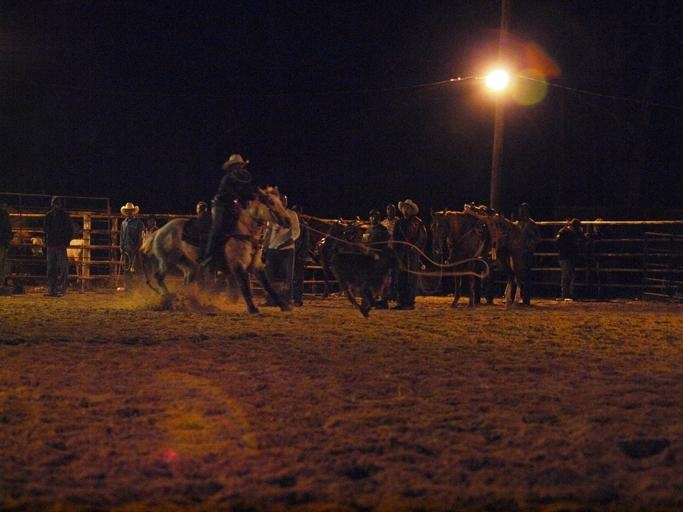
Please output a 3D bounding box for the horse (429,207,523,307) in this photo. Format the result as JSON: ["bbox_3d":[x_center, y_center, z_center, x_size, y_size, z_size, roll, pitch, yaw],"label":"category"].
[{"bbox_3d":[3.079,-0.075,14.108,2.657,2.064,0.844,-2,3,-29],"label":"horse"}]

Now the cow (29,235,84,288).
[{"bbox_3d":[-7.154,0.129,15.989,1.211,1.682,0.338,2,10,-1],"label":"cow"}]

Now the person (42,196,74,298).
[{"bbox_3d":[-6.604,-0.250,15.000,0.731,2.176,0.782,3,3,16],"label":"person"}]

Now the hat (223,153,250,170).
[{"bbox_3d":[-1.905,-1.666,11.407,0.412,0.331,0.606,-4,16,-12],"label":"hat"}]

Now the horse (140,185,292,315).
[{"bbox_3d":[-2.362,-0.080,11.902,3.076,2.137,0.857,-1,3,18],"label":"horse"}]

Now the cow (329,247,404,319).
[{"bbox_3d":[0.432,0.462,11.727,0.965,1.214,1.382,9,17,32],"label":"cow"}]
